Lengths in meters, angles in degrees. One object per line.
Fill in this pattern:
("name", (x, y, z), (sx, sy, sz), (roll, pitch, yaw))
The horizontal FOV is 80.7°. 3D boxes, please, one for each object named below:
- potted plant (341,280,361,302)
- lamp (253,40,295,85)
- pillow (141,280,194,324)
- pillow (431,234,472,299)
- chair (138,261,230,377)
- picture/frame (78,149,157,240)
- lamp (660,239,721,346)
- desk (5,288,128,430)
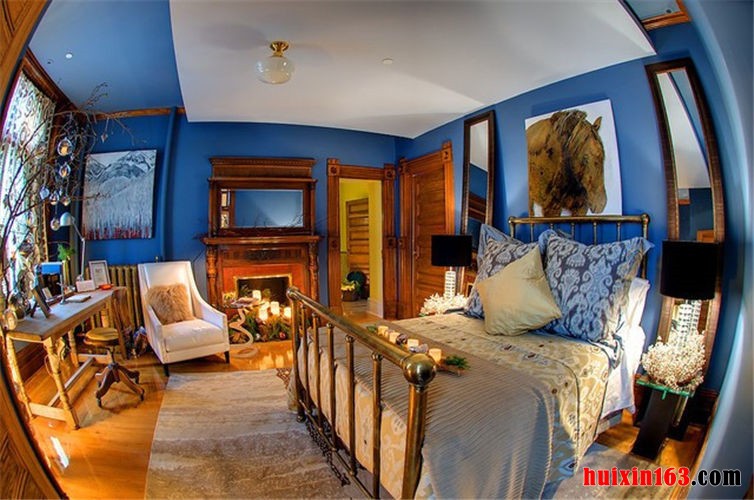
("potted plant", (-0.499, 0.759, 8.250), (0.336, 0.252, 0.340), (0, -2, 9))
("lamp", (-0.909, -1.714, 4.086), (0.348, 0.362, 0.347), (6, 2, 37))
("pillow", (-2.394, 0.572, 5.111), (0.449, 0.473, 0.145), (-2, -30, -39))
("pillow", (0.907, 0.207, 5.186), (0.522, 0.858, 0.525), (-5, -9, 28))
("chair", (-2.241, 0.690, 5.072), (0.765, 1.013, 0.982), (-4, 9, -38))
("picture/frame", (-3.416, -0.733, 5.764), (1.139, 1.305, 0.060), (1, -3, -10))
("lamp", (2.509, 0.151, 3.556), (0.382, 0.433, 0.383), (-2, 5, -39))
("desk", (-2.825, 0.992, 4.015), (0.652, 0.799, 1.220), (1, 9, 10))
